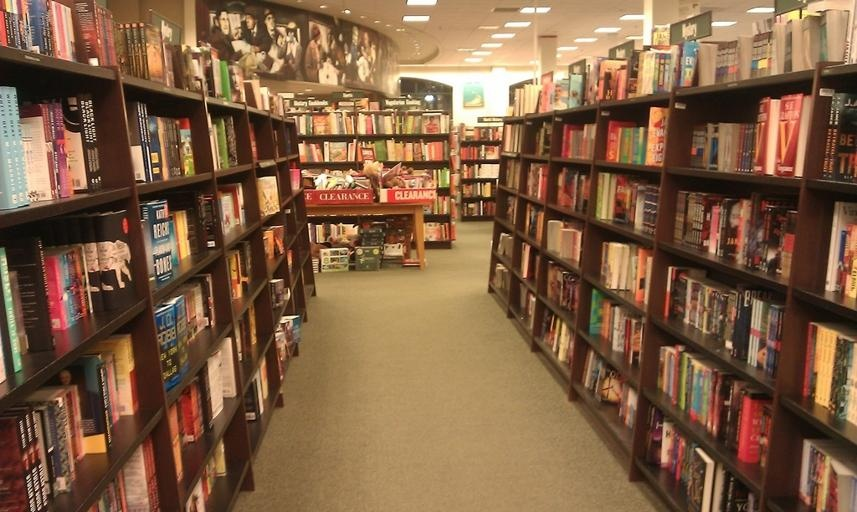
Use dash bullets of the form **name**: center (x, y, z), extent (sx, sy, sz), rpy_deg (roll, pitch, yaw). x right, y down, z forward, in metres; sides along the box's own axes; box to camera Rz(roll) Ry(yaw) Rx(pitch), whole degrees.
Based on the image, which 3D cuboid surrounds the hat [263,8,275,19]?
- **hat**: center (-2.730, -4.115, 10.604), extent (0.131, 0.115, 0.128), rpy_deg (-5, 13, -20)
